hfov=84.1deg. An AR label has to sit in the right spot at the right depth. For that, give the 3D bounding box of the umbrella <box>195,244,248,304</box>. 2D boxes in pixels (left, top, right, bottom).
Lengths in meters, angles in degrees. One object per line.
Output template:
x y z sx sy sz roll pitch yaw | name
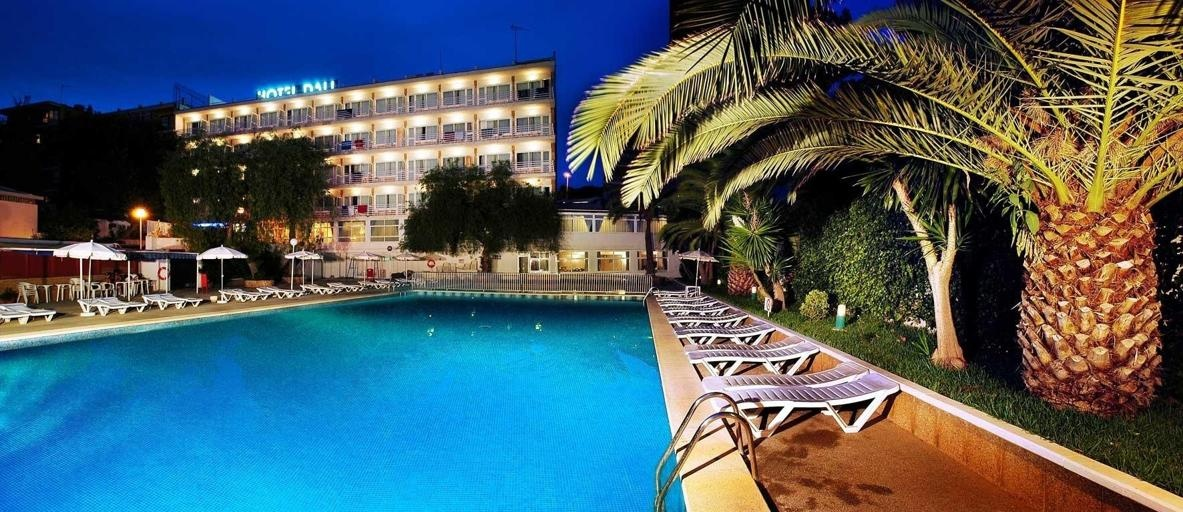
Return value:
-28.263 1.565 49.623 2.738 4.213 3.920 1 -2 -4 | umbrella

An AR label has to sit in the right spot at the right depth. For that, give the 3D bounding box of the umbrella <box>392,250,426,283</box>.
-16.934 1.100 59.032 3.702 2.981 3.679 -1 3 -10 | umbrella
